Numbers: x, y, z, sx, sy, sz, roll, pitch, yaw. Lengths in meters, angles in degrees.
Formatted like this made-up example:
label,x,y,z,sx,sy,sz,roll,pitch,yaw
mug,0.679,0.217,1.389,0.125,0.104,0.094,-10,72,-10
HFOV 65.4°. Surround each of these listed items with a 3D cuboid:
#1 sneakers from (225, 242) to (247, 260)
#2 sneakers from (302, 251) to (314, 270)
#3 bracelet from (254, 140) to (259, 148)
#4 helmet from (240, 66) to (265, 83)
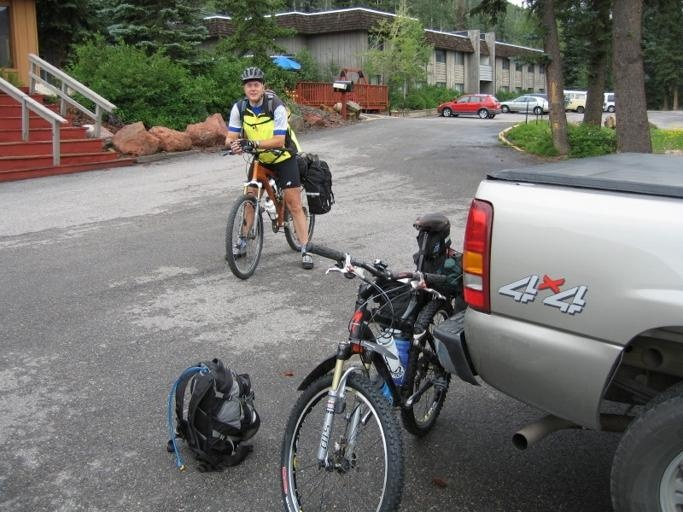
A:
label,x,y,z,sx,sy,sz,roll,pitch,yaw
sneakers,-1.402,-0.061,7.067,0.116,0.165,0.364,-1,0,11
sneakers,-0.494,0.069,7.660,0.133,0.180,0.391,0,1,-2
bracelet,-1.104,-1.449,6.929,0.062,0.102,0.033,-2,-2,-6
helmet,-1.199,-2.421,7.099,0.251,0.193,0.634,-7,19,-10
